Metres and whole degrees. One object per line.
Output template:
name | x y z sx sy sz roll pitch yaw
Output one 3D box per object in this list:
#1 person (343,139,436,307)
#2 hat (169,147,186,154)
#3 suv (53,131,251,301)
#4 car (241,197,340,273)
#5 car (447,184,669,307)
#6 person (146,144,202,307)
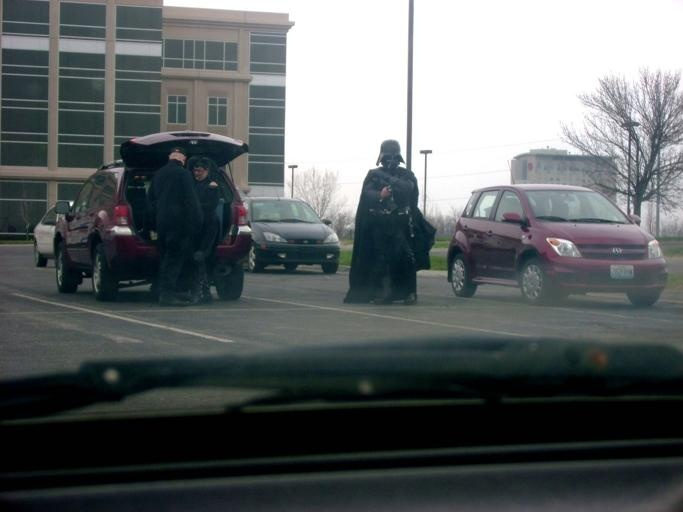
person | 0.746 -0.469 10.975 1.236 2.325 1.199 3 12 6
hat | -2.213 -1.428 10.054 0.168 0.138 0.295 3 -1 2
suv | -2.927 -0.747 11.350 1.819 1.966 3.429 0 6 -25
car | -1.495 -0.633 19.351 1.443 1.376 2.634 0 -2 -21
car | 3.325 -0.041 11.950 1.985 1.923 3.442 -9 18 -37
person | -2.196 -0.362 9.930 0.630 2.055 0.814 -2 13 -15
